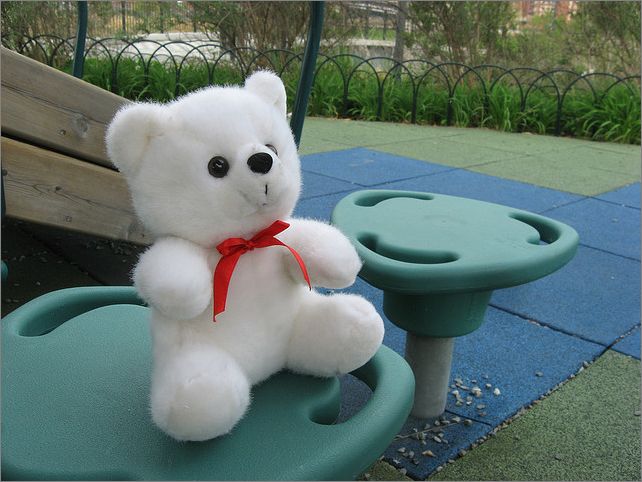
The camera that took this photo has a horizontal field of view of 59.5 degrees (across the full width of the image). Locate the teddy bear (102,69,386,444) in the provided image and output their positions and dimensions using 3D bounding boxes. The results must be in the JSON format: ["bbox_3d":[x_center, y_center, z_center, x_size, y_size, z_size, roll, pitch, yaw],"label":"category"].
[{"bbox_3d":[-0.222,0.010,1.474,0.507,0.776,0.709,14,20,39],"label":"teddy bear"}]

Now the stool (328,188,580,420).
[{"bbox_3d":[0.383,0.222,2.205,0.868,0.724,0.870,-14,25,-35],"label":"stool"}]
